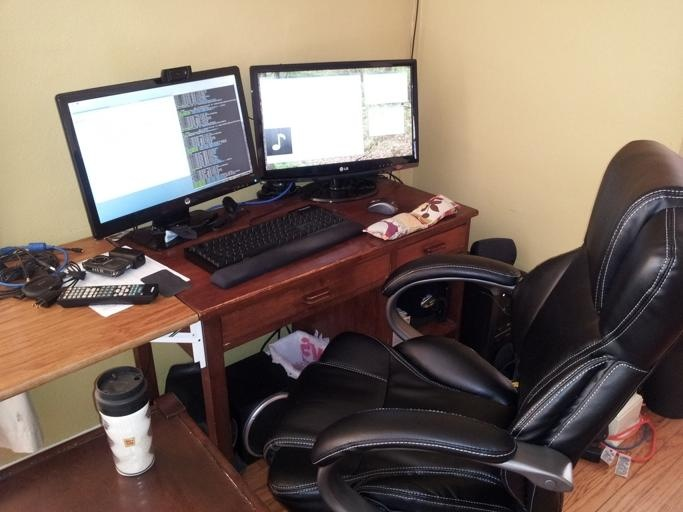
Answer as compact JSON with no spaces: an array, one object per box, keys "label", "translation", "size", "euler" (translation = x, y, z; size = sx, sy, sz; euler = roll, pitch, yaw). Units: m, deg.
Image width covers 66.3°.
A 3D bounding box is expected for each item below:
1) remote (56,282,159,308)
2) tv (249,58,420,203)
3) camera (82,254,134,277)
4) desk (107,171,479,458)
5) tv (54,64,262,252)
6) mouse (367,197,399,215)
[{"label":"remote","translation":[-0.650,0.115,1.510],"size":[0.293,0.043,0.088],"euler":[-3,34,-9]},{"label":"tv","translation":[-0.045,-0.510,2.085],"size":[0.596,0.400,0.209],"euler":[-12,28,-23]},{"label":"camera","translation":[-0.722,0.017,1.605],"size":[0.113,0.034,0.069],"euler":[17,35,20]},{"label":"desk","translation":[-0.130,0.272,2.154],"size":[1.244,0.814,0.642],"euler":[-21,33,-39]},{"label":"tv","translation":[-0.647,-0.332,1.771],"size":[0.168,0.481,0.627],"euler":[30,38,31]},{"label":"mouse","translation":[0.161,-0.191,1.992],"size":[0.107,0.036,0.058],"euler":[9,34,16]}]
